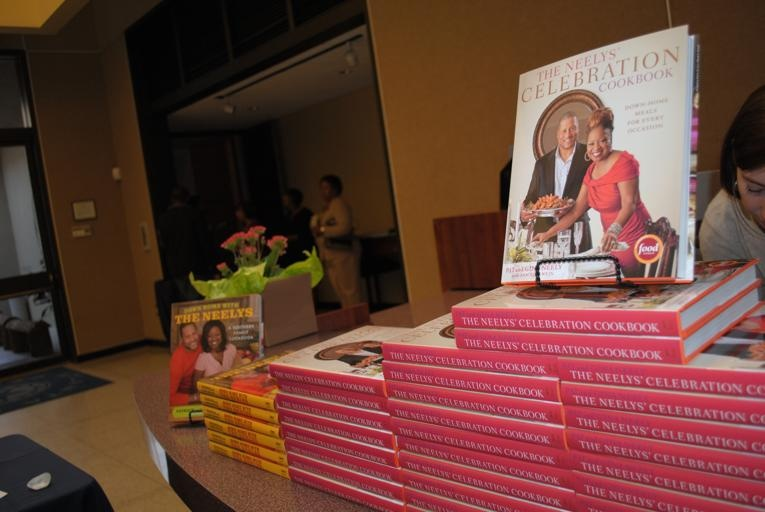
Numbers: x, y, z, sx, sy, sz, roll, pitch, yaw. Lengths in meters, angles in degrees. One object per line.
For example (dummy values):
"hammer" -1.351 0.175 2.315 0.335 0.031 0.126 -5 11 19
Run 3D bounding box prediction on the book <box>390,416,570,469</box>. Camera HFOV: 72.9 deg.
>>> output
"book" 0.154 0.274 0.770 0.115 0.024 0.114 3 3 40

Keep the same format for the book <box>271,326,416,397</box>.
"book" -0.083 0.192 0.955 0.148 0.030 0.149 1 12 37

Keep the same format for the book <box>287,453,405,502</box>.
"book" -0.056 0.379 0.889 0.110 0.023 0.109 7 5 36

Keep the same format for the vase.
"vase" -0.344 0.142 1.666 0.176 0.215 0.225 -6 8 44

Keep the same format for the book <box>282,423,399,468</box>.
"book" -0.066 0.323 0.891 0.112 0.023 0.112 5 0 22

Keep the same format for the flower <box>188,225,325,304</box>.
"flower" -0.393 0.034 1.647 0.366 0.205 0.283 -3 3 -8

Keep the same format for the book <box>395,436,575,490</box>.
"book" 0.205 0.362 0.881 0.343 0.051 0.352 24 -32 -36

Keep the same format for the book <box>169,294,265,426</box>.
"book" -0.441 0.250 1.294 0.274 0.286 0.066 -2 -10 -1

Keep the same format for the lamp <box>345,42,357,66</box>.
"lamp" -0.231 -1.468 3.785 0.084 0.159 0.037 -10 1 12

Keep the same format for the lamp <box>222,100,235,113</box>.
"lamp" -1.507 -1.447 5.089 0.132 0.097 0.095 -3 -19 6

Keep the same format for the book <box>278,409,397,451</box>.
"book" -0.069 0.296 0.891 0.103 0.022 0.105 4 0 22

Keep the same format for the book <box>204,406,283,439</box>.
"book" -0.272 0.329 1.032 0.099 0.023 0.100 5 -1 31

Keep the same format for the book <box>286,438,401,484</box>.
"book" -0.060 0.350 0.890 0.111 0.023 0.113 8 5 29
